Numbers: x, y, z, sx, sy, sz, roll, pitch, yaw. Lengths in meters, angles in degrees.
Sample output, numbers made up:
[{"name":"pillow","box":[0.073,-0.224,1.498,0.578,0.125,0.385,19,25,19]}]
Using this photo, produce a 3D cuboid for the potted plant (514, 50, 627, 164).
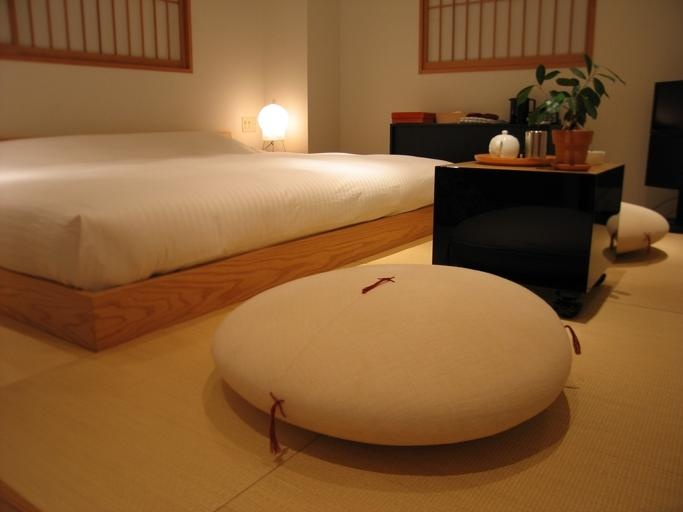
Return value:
[{"name":"potted plant","box":[0.919,-0.555,1.898,0.303,0.419,0.390,-7,9,24]}]

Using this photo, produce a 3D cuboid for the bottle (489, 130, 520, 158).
[{"name":"bottle","box":[0.700,-0.468,2.099,0.129,0.146,0.137,4,11,25]}]

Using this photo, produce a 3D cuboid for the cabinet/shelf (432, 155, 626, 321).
[{"name":"cabinet/shelf","box":[0.750,-0.070,1.956,0.552,0.556,0.604,4,10,33]}]

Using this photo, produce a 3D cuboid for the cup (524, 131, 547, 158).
[{"name":"cup","box":[0.789,-0.455,1.995,0.099,0.123,0.101,-2,8,0]}]
